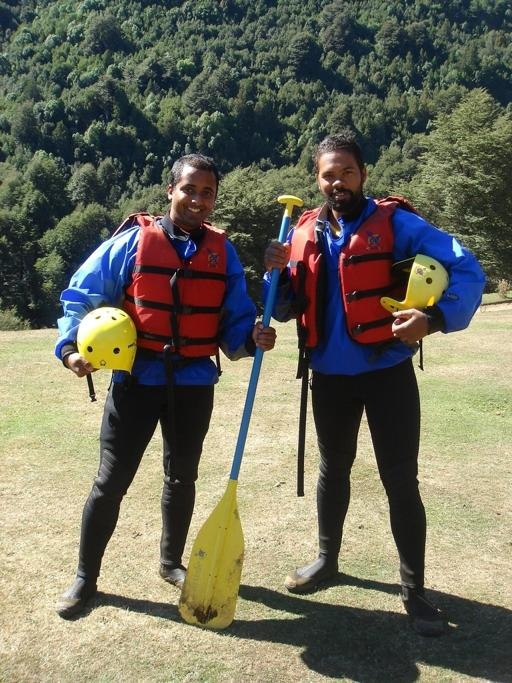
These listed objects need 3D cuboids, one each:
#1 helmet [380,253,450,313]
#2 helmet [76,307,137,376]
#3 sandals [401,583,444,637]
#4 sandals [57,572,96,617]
[{"bbox_3d":[0.714,-0.224,3.264,0.298,0.217,0.212,-17,7,19],"label":"helmet"},{"bbox_3d":[-0.720,-0.001,3.333,0.323,0.293,0.236,0,24,-31],"label":"helmet"},{"bbox_3d":[0.782,1.239,3.255,0.178,0.144,0.218,2,11,2],"label":"sandals"},{"bbox_3d":[-0.846,1.180,3.294,0.139,0.153,0.192,2,11,4],"label":"sandals"}]
